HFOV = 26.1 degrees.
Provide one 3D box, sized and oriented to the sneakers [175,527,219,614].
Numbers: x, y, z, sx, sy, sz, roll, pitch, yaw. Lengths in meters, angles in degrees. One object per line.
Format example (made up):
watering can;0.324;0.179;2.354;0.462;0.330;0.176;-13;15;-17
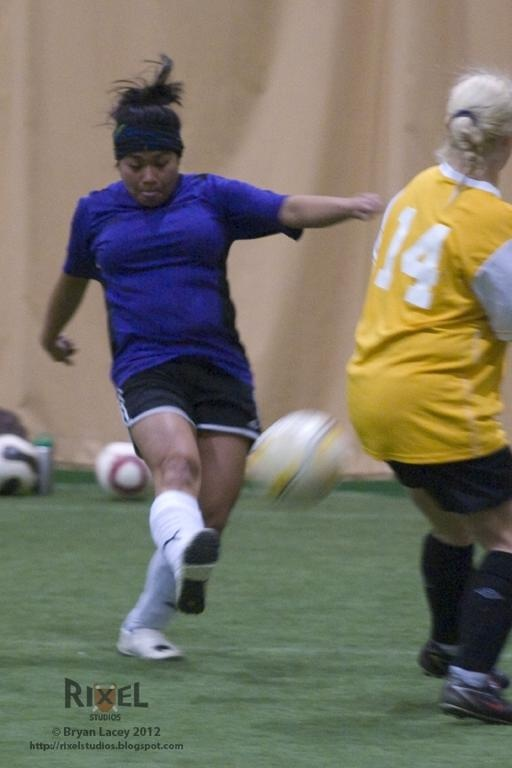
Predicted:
sneakers;-0.128;0.337;1.971;0.077;0.150;0.076;13;12;-15

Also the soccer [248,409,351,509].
soccer;0.099;0.142;2.216;0.126;0.204;0.185;57;20;5
